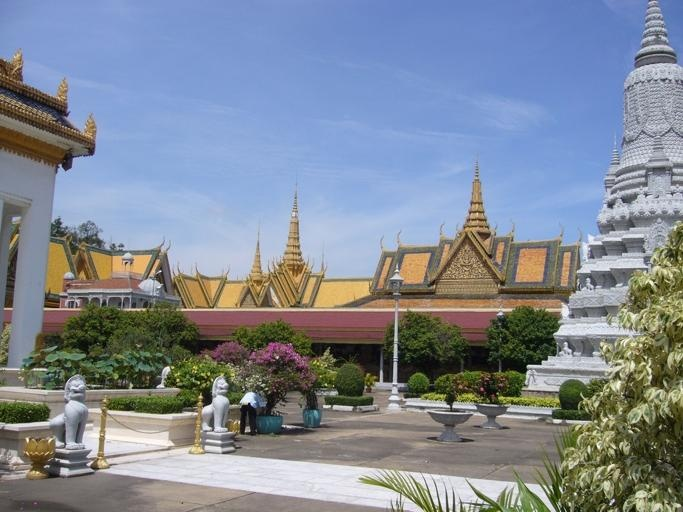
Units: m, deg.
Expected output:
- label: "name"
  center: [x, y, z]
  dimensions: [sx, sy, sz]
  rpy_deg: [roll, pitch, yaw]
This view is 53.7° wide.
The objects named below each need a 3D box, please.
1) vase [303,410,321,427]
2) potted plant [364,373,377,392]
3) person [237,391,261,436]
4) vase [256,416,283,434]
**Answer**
- label: "vase"
  center: [-0.899, 4.653, 19.407]
  dimensions: [0.494, 0.398, 0.486]
  rpy_deg: [0, -6, -11]
- label: "potted plant"
  center: [1.575, 7.245, 38.513]
  dimensions: [1.066, 1.124, 1.129]
  rpy_deg: [1, -12, 0]
- label: "person"
  center: [-2.359, 3.920, 17.120]
  dimensions: [0.440, 1.290, 0.428]
  rpy_deg: [-5, -38, 1]
- label: "vase"
  center: [-1.846, 4.269, 17.087]
  dimensions: [0.549, 0.333, 0.485]
  rpy_deg: [-4, -11, 22]
